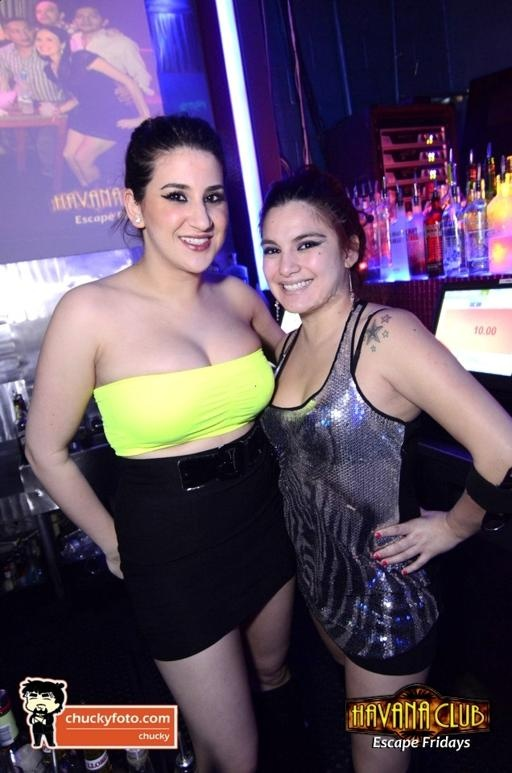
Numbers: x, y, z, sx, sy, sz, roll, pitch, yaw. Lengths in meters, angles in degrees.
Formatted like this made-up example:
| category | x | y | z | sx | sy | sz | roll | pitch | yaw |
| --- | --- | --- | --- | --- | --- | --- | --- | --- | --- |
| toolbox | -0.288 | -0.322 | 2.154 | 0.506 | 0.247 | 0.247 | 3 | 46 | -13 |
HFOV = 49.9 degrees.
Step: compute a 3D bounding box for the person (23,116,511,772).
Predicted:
| category | x | y | z | sx | sy | sz | roll | pitch | yaw |
| --- | --- | --- | --- | --- | --- | --- | --- | --- | --- |
| person | -0.184 | 0.162 | 1.486 | 0.509 | 1.695 | 0.631 | 3 | 18 | 42 |
